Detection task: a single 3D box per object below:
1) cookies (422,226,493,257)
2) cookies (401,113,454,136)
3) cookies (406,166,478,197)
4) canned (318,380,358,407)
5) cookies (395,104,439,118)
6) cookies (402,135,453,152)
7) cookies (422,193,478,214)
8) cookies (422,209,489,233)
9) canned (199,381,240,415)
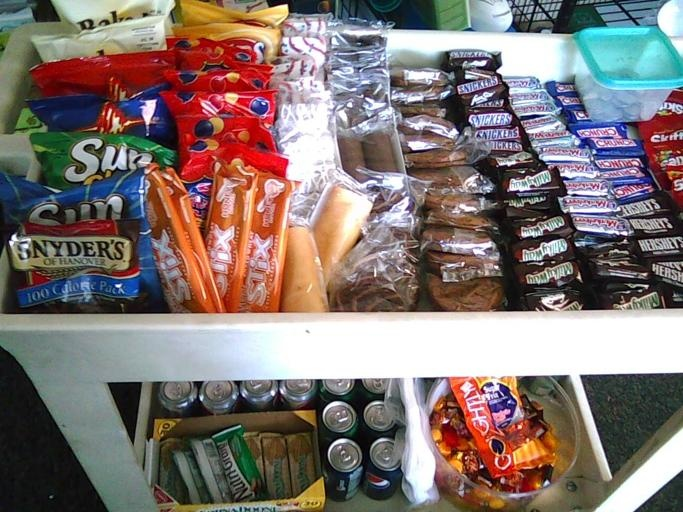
[{"bbox_3d":[0.260,-0.033,1.187,0.135,0.027,0.067,4,38,0],"label":"cookies"},{"bbox_3d":[0.223,-0.343,1.373,0.113,0.024,0.058,13,48,-6],"label":"cookies"},{"bbox_3d":[0.262,-0.186,1.271,0.112,0.025,0.090,-3,32,-7],"label":"cookies"},{"bbox_3d":[-0.009,0.325,1.256,0.076,0.100,0.056,-3,49,-5],"label":"canned"},{"bbox_3d":[0.210,-0.389,1.407,0.154,0.037,0.030,1,73,-2],"label":"cookies"},{"bbox_3d":[0.218,-0.283,1.326,0.113,0.023,0.050,-2,48,-2],"label":"cookies"},{"bbox_3d":[0.254,-0.123,1.236,0.120,0.029,0.044,4,70,0],"label":"cookies"},{"bbox_3d":[0.268,-0.083,1.224,0.128,0.019,0.060,8,26,-1],"label":"cookies"},{"bbox_3d":[-0.289,0.329,1.235,0.107,0.086,0.082,6,56,-3],"label":"canned"}]
